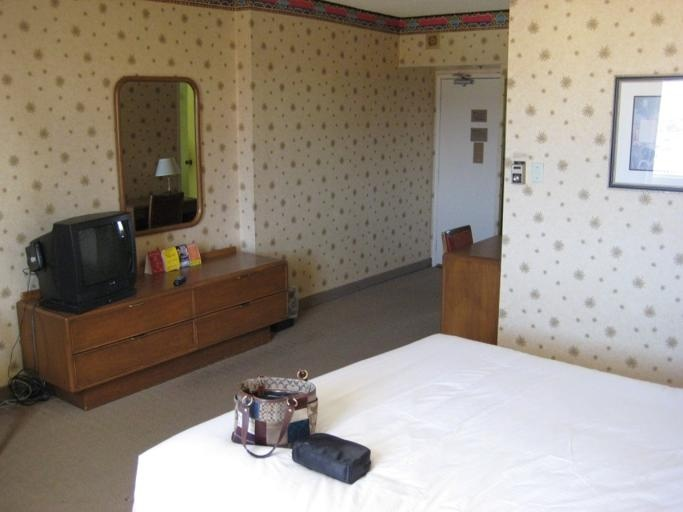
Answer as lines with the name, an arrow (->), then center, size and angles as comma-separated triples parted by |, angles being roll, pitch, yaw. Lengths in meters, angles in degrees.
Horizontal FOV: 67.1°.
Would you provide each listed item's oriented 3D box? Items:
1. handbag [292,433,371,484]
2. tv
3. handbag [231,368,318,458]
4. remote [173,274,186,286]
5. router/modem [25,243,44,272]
handbag -> -0.040, 0.788, 2.038 | 0.207, 0.083, 0.156 | 9, 12, 35
tv -> -1.899, -0.055, 3.947 | 0.667, 0.804, 0.699 | 5, 12, 23
handbag -> -0.284, 0.664, 2.196 | 0.277, 0.263, 0.353 | 4, 11, 14
remote -> -1.302, 0.196, 4.178 | 0.060, 0.044, 0.123 | -3, 14, 8
router/modem -> -2.206, 0.008, 3.722 | 0.055, 0.162, 0.157 | -13, -5, -40
